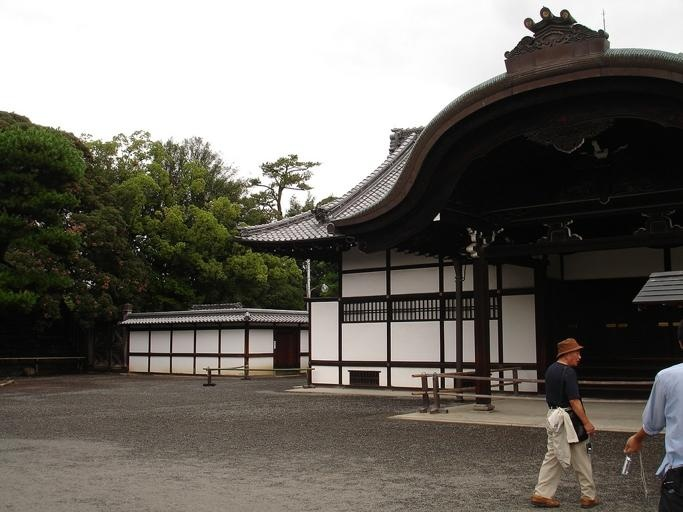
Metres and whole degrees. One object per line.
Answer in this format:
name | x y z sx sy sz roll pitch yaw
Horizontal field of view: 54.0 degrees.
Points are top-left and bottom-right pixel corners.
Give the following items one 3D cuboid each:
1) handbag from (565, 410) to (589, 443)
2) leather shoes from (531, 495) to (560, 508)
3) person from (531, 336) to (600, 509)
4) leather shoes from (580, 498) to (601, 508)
handbag | 2.610 1.876 7.454 0.227 0.355 0.100 0 -7 10
leather shoes | 2.238 2.710 7.475 0.330 0.148 0.121 1 0 -5
person | 2.543 1.876 7.718 0.694 1.857 0.733 -1 -8 19
leather shoes | 2.762 2.715 7.451 0.231 0.090 0.089 1 -2 -34
